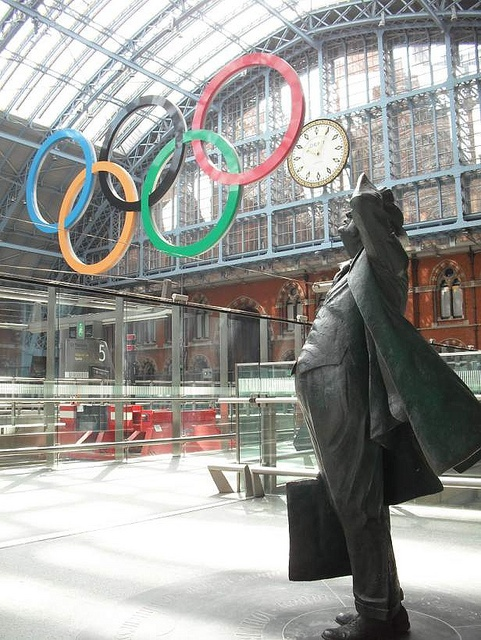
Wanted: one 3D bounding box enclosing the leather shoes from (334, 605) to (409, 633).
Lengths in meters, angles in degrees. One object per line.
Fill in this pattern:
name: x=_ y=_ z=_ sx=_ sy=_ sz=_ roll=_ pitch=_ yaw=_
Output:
leather shoes: x=0.409 y=0.963 z=1.867 sx=0.256 sy=0.103 sz=0.082 roll=6 pitch=-15 yaw=-3
